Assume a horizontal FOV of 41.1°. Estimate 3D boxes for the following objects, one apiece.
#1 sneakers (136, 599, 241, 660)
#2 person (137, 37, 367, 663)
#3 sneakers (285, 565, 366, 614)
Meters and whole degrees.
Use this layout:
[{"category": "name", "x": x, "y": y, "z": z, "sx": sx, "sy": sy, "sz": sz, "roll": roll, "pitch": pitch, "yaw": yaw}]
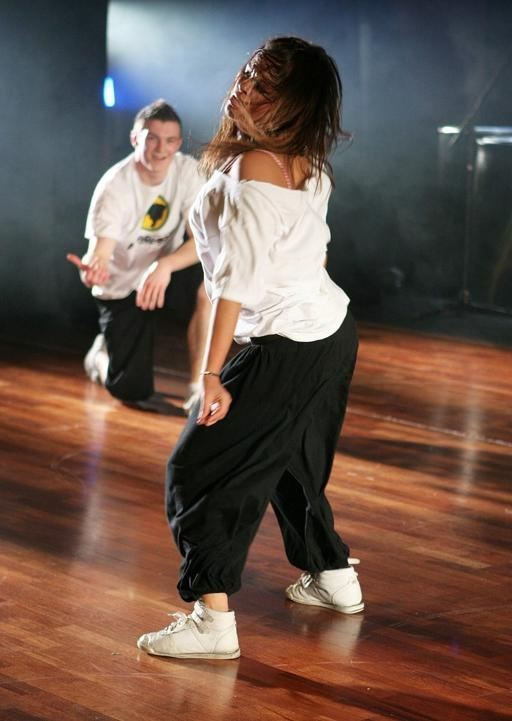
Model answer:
[{"category": "sneakers", "x": -0.090, "y": 0.406, "z": 1.050, "sx": 0.178, "sy": 0.085, "sz": 0.064, "roll": 2, "pitch": -6, "yaw": 9}, {"category": "person", "x": 0.021, "y": -0.009, "z": 1.071, "sx": 0.222, "sy": 0.925, "sz": 0.364, "roll": 8, "pitch": 8, "yaw": 34}, {"category": "sneakers", "x": 0.130, "y": 0.409, "z": 1.260, "sx": 0.146, "sy": 0.075, "sz": 0.066, "roll": 4, "pitch": 10, "yaw": 42}]
